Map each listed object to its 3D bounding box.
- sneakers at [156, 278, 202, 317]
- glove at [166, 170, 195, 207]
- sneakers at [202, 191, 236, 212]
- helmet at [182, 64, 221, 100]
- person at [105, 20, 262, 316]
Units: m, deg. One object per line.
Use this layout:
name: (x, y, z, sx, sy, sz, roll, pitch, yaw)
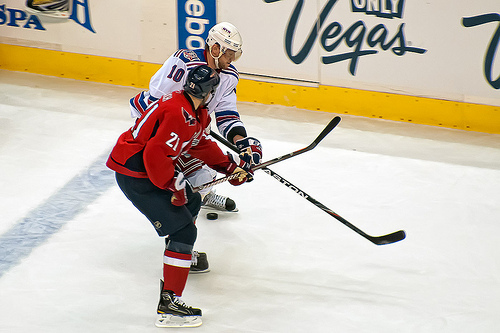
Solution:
sneakers: (-0.453, 0.983, 4.455, 0.428, 0.251, 0.149, 1, -3, -3)
glove: (-0.563, 0.178, 4.385, 0.105, 0.243, 0.204, 3, 45, 32)
sneakers: (-0.200, 0.302, 5.307, 0.417, 0.111, 0.145, 3, -15, 1)
helmet: (-0.338, -0.614, 4.378, 0.274, 0.223, 0.207, -16, 64, -41)
person: (-0.474, -0.038, 4.589, 1.090, 2.037, 1.259, 7, 18, 1)
